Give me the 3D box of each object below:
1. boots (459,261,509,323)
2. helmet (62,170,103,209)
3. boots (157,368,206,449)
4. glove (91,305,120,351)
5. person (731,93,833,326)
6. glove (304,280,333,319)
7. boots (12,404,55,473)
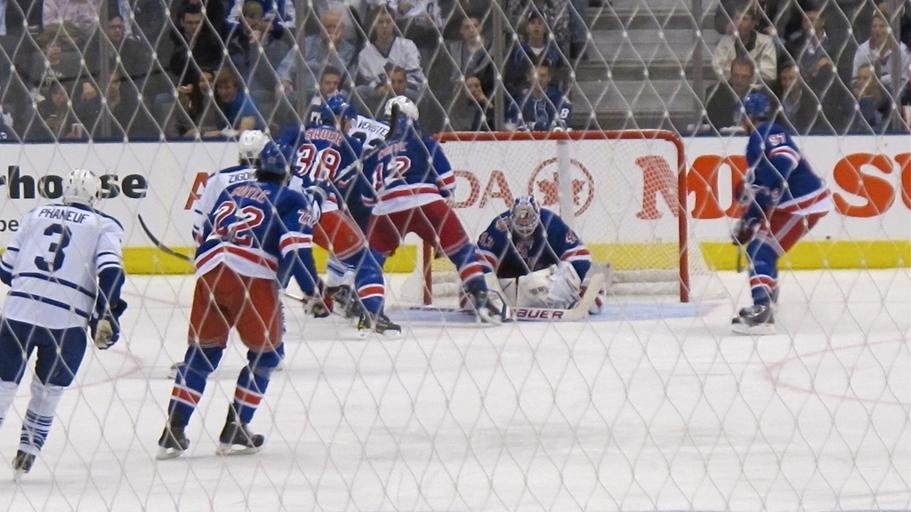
[{"bbox_3d":[0.253,0.327,15.194,0.352,0.575,0.327,-1,1,-25],"label":"boots"},{"bbox_3d":[-2.813,-0.514,12.981,0.267,0.282,0.311,2,15,-19],"label":"helmet"},{"bbox_3d":[-2.077,1.137,12.950,0.304,0.627,0.339,2,0,-13],"label":"boots"},{"bbox_3d":[-2.624,0.544,12.910,0.251,0.278,0.118,5,9,14],"label":"glove"},{"bbox_3d":[2.587,-0.460,14.668,0.976,2.198,0.962,3,2,17],"label":"person"},{"bbox_3d":[-1.118,0.383,14.106,0.175,0.198,0.490,-10,-21,-2],"label":"glove"},{"bbox_3d":[-3.125,1.366,12.708,0.199,0.482,0.319,0,4,30],"label":"boots"}]
